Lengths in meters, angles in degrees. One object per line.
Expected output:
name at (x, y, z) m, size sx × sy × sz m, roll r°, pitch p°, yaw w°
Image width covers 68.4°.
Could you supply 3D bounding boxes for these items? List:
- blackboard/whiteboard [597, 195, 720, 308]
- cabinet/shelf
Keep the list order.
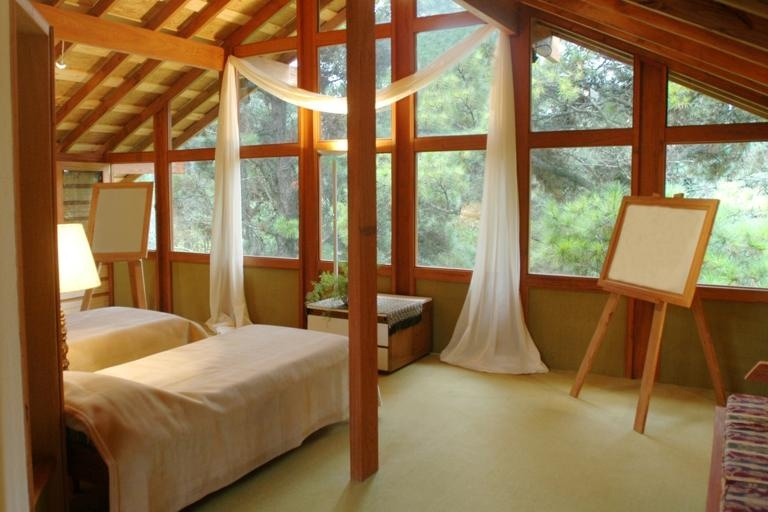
blackboard/whiteboard at (2.308, -0.023, 4.673) m, size 0.113 × 1.021 × 0.870 m, roll 20°, pitch -2°, yaw -35°
cabinet/shelf at (0.039, 0.741, 5.896) m, size 0.905 × 0.552 × 0.896 m, roll 0°, pitch 0°, yaw 32°
